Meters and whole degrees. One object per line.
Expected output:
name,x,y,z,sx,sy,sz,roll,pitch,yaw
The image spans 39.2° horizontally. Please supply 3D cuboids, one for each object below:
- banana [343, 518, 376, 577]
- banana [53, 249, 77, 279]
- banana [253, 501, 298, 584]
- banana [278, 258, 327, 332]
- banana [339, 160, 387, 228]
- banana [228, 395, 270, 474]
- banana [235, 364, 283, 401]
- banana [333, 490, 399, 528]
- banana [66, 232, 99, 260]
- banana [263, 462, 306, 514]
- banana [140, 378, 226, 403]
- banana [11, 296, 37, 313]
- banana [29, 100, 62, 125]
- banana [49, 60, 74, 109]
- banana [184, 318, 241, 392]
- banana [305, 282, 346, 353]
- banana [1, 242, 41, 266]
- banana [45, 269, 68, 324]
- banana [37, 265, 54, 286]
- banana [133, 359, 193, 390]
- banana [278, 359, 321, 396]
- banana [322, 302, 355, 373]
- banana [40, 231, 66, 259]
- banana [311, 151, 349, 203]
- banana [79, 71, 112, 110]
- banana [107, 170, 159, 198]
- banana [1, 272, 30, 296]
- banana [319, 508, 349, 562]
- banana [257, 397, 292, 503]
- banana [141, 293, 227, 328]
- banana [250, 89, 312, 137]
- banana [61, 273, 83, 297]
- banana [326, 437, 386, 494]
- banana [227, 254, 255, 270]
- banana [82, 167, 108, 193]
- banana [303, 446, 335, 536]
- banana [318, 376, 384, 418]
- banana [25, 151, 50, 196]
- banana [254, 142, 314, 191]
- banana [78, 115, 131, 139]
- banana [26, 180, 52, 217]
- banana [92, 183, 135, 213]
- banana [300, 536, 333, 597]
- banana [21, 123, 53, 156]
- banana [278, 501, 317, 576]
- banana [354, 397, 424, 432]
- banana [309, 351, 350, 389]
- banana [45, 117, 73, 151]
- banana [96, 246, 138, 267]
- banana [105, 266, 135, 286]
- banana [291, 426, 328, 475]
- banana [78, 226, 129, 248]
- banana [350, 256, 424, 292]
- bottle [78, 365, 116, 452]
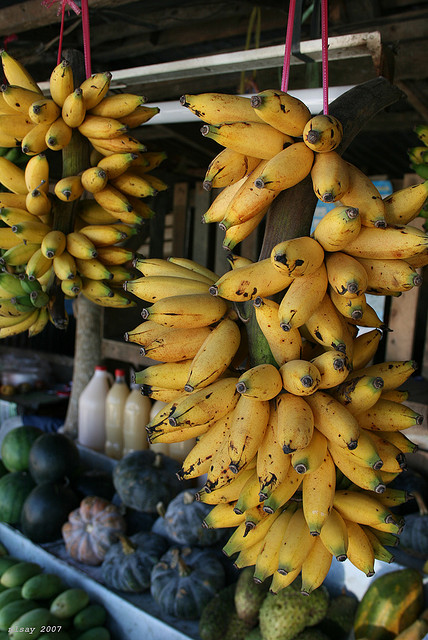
banana,0.259,0.396,1.039,0.039,0.116,0.036,-41,28,-12
banana,-0.324,-0.122,1.309,0.025,0.036,0.071,46,7,-40
banana,0.116,0.382,1.080,0.047,0.163,0.052,23,-20,21
banana,0.144,-0.034,0.963,0.043,0.146,0.049,42,-44,-14
banana,0.241,-0.212,1.010,0.047,0.039,0.145,-25,45,-4
banana,0.057,0.176,0.970,0.045,0.142,0.046,5,-35,15
banana,0.075,0.104,0.954,0.047,0.040,0.078,-3,-4,33
banana,0.253,0.322,1.026,0.045,0.041,0.136,13,-7,-42
banana,-0.291,-0.166,1.335,0.074,0.062,0.103,4,2,-12
banana,0.118,0.283,0.998,0.046,0.133,0.038,-13,-30,35
banana,-0.049,0.120,1.044,0.133,0.032,0.043,-6,5,11
banana,-0.419,-0.032,1.293,0.030,0.018,0.079,-16,1,-16
banana,-0.365,-0.452,1.294,0.036,0.059,0.096,5,2,9
banana,-0.322,-0.506,1.294,0.037,0.039,0.115,20,-30,-1
banana,0.004,0.058,1.058,0.053,0.157,0.052,2,-42,42
banana,0.180,0.000,1.036,0.036,0.124,0.046,-30,-34,17
banana,-0.422,-0.143,1.310,0.037,0.029,0.114,23,28,35
banana,-0.369,-0.044,1.400,0.035,0.160,0.046,-25,-25,27
banana,-0.400,-0.105,1.437,0.038,0.026,0.046,-32,8,3
banana,-0.086,0.097,1.062,0.139,0.040,0.043,-4,24,-6
banana,0.134,0.087,0.956,0.042,0.041,0.068,-24,9,-2
banana,0.236,0.038,1.033,0.042,0.147,0.053,-4,40,28
banana,-0.337,-0.159,1.281,0.036,0.030,0.072,-36,22,11
banana,0.198,-0.238,0.988,0.066,0.132,0.048,-4,-44,18
banana,-0.252,-0.500,1.306,0.071,0.076,0.064,5,2,6
banana,-0.211,-0.320,1.416,0.152,0.042,0.042,13,-6,25
banana,-0.431,-0.074,1.299,0.037,0.026,0.101,25,-10,-34
banana,0.193,0.352,0.989,0.035,0.032,0.103,19,6,3
banana,0.098,0.212,0.998,0.048,0.166,0.058,22,-22,-11
banana,-0.048,-0.026,1.064,0.170,0.050,0.055,-7,26,-16
banana,0.106,-0.340,1.011,0.042,0.050,0.120,-4,-16,45
banana,-0.314,-0.071,1.326,0.041,0.029,0.051,-8,-30,-8
banana,0.254,0.248,1.038,0.054,0.046,0.170,-38,-11,7
banana,0.044,-0.108,1.136,0.027,0.019,0.074,8,2,10
banana,-0.252,-0.295,1.268,0.039,0.039,0.062,-33,4,-29
banana,0.174,0.277,0.975,0.038,0.129,0.043,14,-30,-6
banana,0.228,0.125,0.948,0.063,0.043,0.171,1,-12,-19
banana,-0.381,-0.313,1.306,0.056,0.093,0.033,0,7,4
banana,0.116,-0.257,1.024,0.046,0.050,0.152,37,53,21
banana,-0.241,-0.416,1.303,0.152,0.040,0.048,3,7,21
banana,-0.384,-0.266,1.317,0.041,0.032,0.087,1,-1,-12
banana,-0.220,-0.275,1.346,0.087,0.029,0.028,40,-41,-26
banana,0.185,0.417,1.074,0.042,0.130,0.043,18,-23,-2
banana,-0.381,-0.389,1.305,0.047,0.029,0.088,20,43,-3
banana,0.146,0.373,1.011,0.042,0.044,0.136,19,42,-3
banana,0.287,0.166,1.077,0.160,0.042,0.047,3,18,2
banana,0.192,0.079,0.965,0.035,0.035,0.075,-21,-3,-29
banana,-0.324,-0.400,1.303,0.035,0.035,0.098,-10,40,18
banana,-0.226,-0.145,1.385,0.135,0.038,0.044,-1,-8,13
banana,-0.219,-0.097,1.399,0.046,0.029,0.113,3,-4,-28
banana,0.154,0.224,0.996,0.059,0.038,0.114,26,15,6
banana,-0.240,-0.186,1.380,0.128,0.038,0.041,-2,-39,5
banana,0.278,-0.083,1.029,0.145,0.043,0.041,10,34,21
bottle,-0.527,0.384,2.621,0.129,0.371,0.192,4,2,-12
